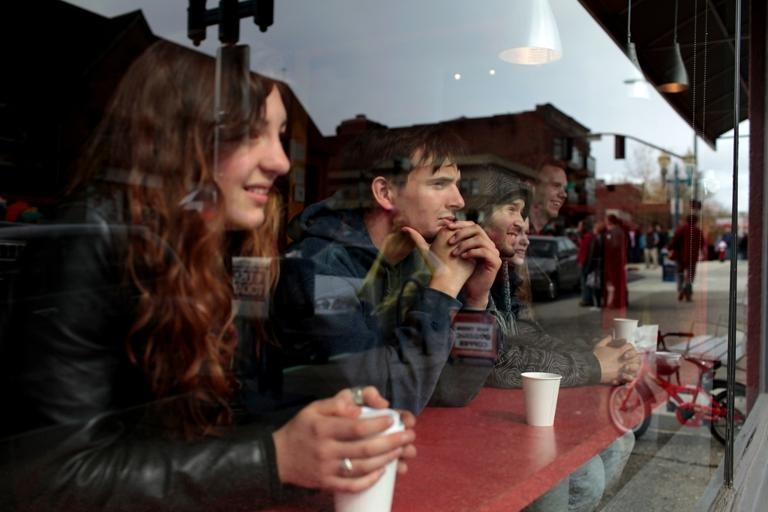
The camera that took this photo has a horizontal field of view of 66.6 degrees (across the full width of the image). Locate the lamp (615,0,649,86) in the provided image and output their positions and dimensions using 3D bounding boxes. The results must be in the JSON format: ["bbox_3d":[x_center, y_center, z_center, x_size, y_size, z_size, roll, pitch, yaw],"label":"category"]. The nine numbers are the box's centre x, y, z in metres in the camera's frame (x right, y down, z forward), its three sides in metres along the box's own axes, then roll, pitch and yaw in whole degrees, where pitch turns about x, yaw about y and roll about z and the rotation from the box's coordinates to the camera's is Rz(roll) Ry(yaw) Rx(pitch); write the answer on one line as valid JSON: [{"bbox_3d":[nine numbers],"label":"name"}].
[{"bbox_3d":[0.811,-0.706,1.903,0.058,0.335,0.171,0,-1,35],"label":"lamp"}]

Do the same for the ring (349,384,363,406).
[{"bbox_3d":[-0.048,0.241,1.018,0.021,0.025,0.029,-13,41,-18],"label":"ring"}]

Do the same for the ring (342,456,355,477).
[{"bbox_3d":[-0.057,0.343,0.951,0.010,0.026,0.025,-8,-23,-12],"label":"ring"}]

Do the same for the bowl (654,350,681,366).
[{"bbox_3d":[1.055,0.381,2.162,0.093,0.073,0.095,-1,-3,0],"label":"bowl"}]

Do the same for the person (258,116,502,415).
[{"bbox_3d":[-0.001,-0.022,1.618,0.567,0.924,0.491,-1,4,6],"label":"person"}]

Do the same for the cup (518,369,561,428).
[{"bbox_3d":[0.376,0.349,1.414,0.105,0.122,0.108,1,-2,0],"label":"cup"}]

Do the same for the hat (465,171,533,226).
[{"bbox_3d":[0.276,-0.158,1.434,0.143,0.151,0.120,-9,10,7],"label":"hat"}]

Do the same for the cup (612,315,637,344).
[{"bbox_3d":[0.780,0.237,1.942,0.093,0.097,0.064,3,-9,-1],"label":"cup"}]
